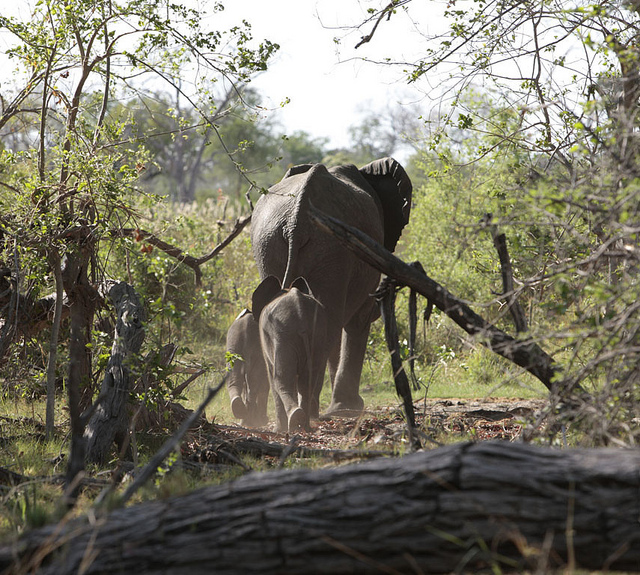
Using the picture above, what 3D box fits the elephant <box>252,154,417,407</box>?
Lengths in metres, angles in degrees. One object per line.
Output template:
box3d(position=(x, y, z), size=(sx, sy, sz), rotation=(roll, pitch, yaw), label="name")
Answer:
box3d(position=(0.127, -0.046, 9.834), size=(1.135, 2.275, 3.015), rotation=(4, -1, 15), label="elephant")

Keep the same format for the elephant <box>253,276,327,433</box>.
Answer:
box3d(position=(-0.190, 0.530, 8.386), size=(0.485, 1.176, 0.801), rotation=(0, 5, -22), label="elephant")
